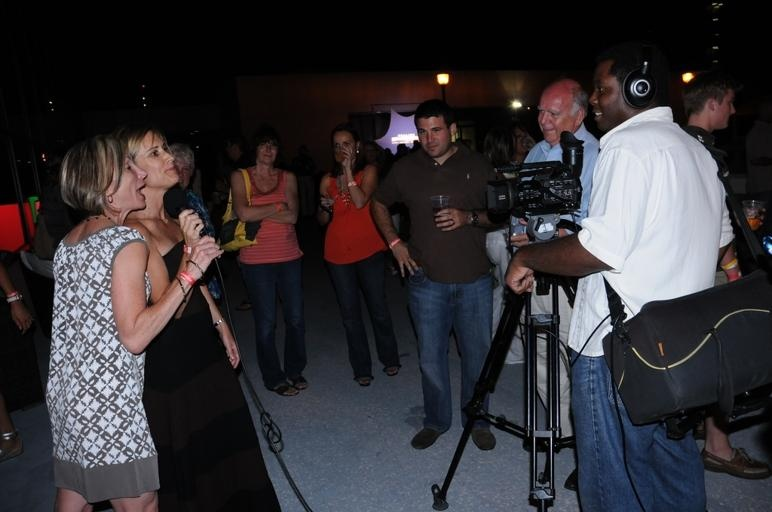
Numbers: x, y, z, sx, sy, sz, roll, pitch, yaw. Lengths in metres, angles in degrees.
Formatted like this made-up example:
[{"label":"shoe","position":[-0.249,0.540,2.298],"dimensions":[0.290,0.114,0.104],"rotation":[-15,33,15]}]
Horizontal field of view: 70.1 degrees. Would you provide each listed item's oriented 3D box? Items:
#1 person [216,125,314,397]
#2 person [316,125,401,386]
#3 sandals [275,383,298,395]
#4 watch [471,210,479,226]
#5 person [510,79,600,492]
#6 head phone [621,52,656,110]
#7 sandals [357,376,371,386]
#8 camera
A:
[{"label":"person","position":[-1.083,0.042,5.145],"dimensions":[0.710,2.432,0.549],"rotation":[-8,6,-38]},{"label":"person","position":[-0.341,-0.033,5.139],"dimensions":[0.681,2.318,0.713],"rotation":[-5,-1,21]},{"label":"sandals","position":[-0.929,1.247,5.138],"dimensions":[0.097,0.062,0.236],"rotation":[-7,6,-43]},{"label":"watch","position":[0.664,-0.290,4.186],"dimensions":[0.064,0.097,0.087],"rotation":[0,-2,2]},{"label":"person","position":[1.053,0.087,3.956],"dimensions":[0.721,2.615,0.675],"rotation":[7,2,41]},{"label":"head phone","position":[1.268,-0.866,2.758],"dimensions":[0.146,0.249,0.075],"rotation":[-10,20,-15]},{"label":"sandals","position":[-0.206,1.190,5.264],"dimensions":[0.105,0.051,0.103],"rotation":[0,23,1]},{"label":"camera","position":[0.813,-0.416,2.962],"dimensions":[0.488,0.422,0.213],"rotation":[-8,23,-2]}]
